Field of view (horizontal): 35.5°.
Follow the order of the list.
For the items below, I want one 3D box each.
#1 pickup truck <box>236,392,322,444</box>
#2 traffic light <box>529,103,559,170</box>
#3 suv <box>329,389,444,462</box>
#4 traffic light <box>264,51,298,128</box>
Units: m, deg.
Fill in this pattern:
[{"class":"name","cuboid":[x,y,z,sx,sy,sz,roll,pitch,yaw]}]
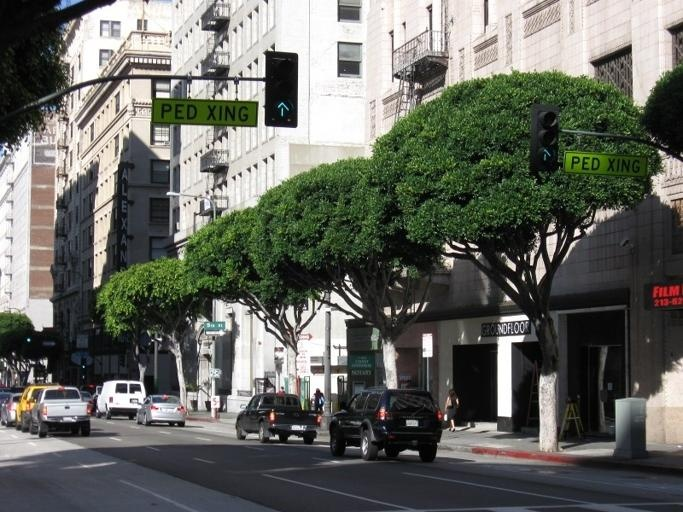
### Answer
[{"class":"pickup truck","cuboid":[-2.620,6.463,42.922,2.448,2.134,4.668,7,-9,-25]},{"class":"traffic light","cuboid":[5.200,-3.063,27.542,0.744,1.701,0.483,-1,-8,2]},{"class":"suv","cuboid":[1.323,5.305,33.921,3.537,2.271,1.664,-10,-13,39]},{"class":"traffic light","cuboid":[-1.524,-4.191,26.387,0.789,1.938,0.519,1,-8,-9]}]
